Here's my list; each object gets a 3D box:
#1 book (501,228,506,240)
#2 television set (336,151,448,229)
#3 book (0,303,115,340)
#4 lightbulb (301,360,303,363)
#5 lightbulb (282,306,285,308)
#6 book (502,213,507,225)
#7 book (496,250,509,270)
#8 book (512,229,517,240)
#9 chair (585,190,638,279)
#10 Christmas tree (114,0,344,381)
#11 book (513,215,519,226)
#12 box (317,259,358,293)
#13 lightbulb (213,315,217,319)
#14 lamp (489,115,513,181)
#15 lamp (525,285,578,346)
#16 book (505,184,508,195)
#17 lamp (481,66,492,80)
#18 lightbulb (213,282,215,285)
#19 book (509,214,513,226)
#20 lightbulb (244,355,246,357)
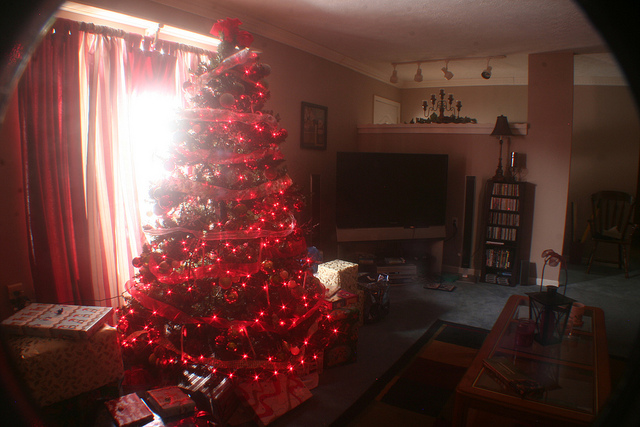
[{"bbox_3d":[2.275,0.242,5.538,0.043,0.135,0.024,8,17,24],"label":"book"},{"bbox_3d":[0.834,-0.302,5.491,1.019,0.675,0.135,-1,8,-10],"label":"television set"},{"bbox_3d":[-1.791,0.717,3.026,0.639,0.128,0.301,2,14,3],"label":"book"},{"bbox_3d":[-0.137,1.095,3.311,0.019,0.018,0.010,1,9,6],"label":"lightbulb"},{"bbox_3d":[-0.267,0.665,3.193,0.014,0.007,0.021,0,-1,38],"label":"lightbulb"},{"bbox_3d":[2.292,0.061,5.540,0.060,0.136,0.045,8,16,22],"label":"book"},{"bbox_3d":[2.274,0.573,5.571,0.132,0.227,0.036,7,16,20],"label":"book"},{"bbox_3d":[2.380,0.250,5.481,0.056,0.133,0.021,12,18,35],"label":"book"},{"bbox_3d":[3.956,0.225,6.096,0.615,1.076,0.938,10,17,30],"label":"chair"},{"bbox_3d":[-0.679,-0.014,3.188,1.522,2.544,0.752,3,15,4],"label":"Christmas tree"},{"bbox_3d":[2.394,0.075,5.463,0.025,0.134,0.085,-4,16,-21],"label":"book"},{"bbox_3d":[0.187,0.607,4.274,0.396,0.281,0.394,9,-6,17],"label":"box"},{"bbox_3d":[-0.731,0.712,3.075,0.017,0.019,0.014,-2,15,-13],"label":"lightbulb"},{"bbox_3d":[2.215,-0.809,5.517,0.262,0.769,0.273,7,16,21],"label":"lamp"},{"bbox_3d":[1.699,0.760,3.332,0.292,0.376,0.288,9,-3,-22],"label":"lamp"},{"bbox_3d":[2.292,-0.305,5.502,0.048,0.129,0.144,-1,-1,24],"label":"book"},{"bbox_3d":[2.137,-1.824,5.724,0.081,0.153,0.403,8,15,22],"label":"lamp"},{"bbox_3d":[-0.751,0.490,3.146,0.016,0.016,0.015,-5,12,-28],"label":"lightbulb"},{"bbox_3d":[2.351,0.071,5.495,0.029,0.127,0.056,-1,15,-10],"label":"book"},{"bbox_3d":[-0.534,1.001,3.144,0.015,0.016,0.016,2,3,0],"label":"lightbulb"}]
